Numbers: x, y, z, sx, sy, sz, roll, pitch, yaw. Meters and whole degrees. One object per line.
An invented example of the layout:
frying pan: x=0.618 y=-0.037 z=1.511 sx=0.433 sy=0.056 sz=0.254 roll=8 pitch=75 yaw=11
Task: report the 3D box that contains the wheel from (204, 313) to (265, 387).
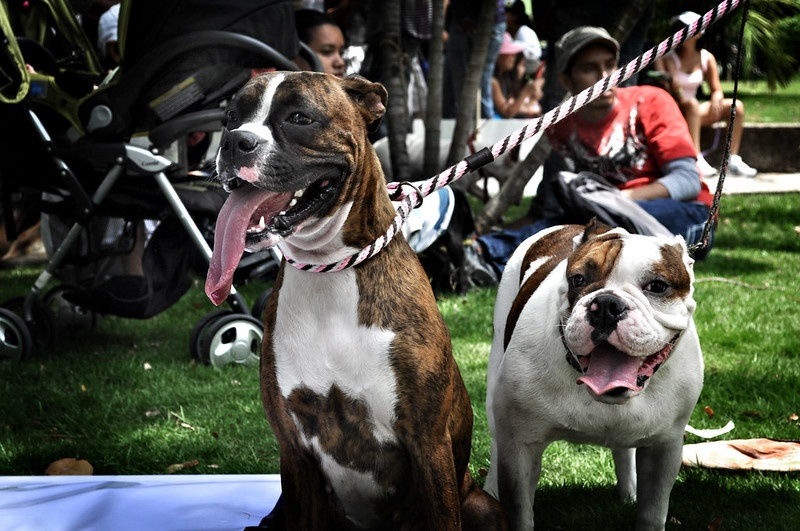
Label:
wheel: x=-1.230 y=0.620 z=5.953 sx=0.525 sy=0.544 sz=0.219 roll=1 pitch=4 yaw=-35
